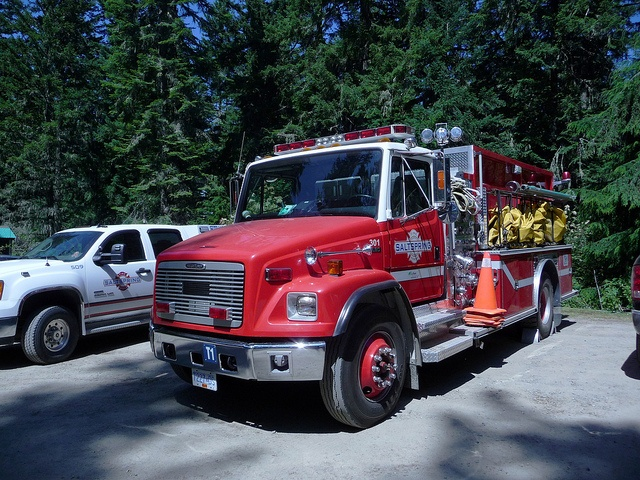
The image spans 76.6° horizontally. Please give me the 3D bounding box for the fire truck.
[{"bbox_3d":[1.470,0.190,7.594,8.253,3.381,4.286,-2,2,-43],"label":"fire truck"}]
